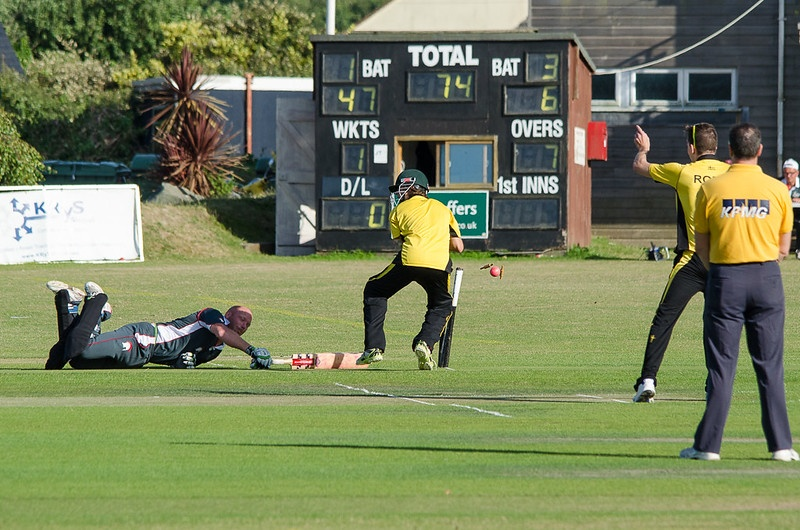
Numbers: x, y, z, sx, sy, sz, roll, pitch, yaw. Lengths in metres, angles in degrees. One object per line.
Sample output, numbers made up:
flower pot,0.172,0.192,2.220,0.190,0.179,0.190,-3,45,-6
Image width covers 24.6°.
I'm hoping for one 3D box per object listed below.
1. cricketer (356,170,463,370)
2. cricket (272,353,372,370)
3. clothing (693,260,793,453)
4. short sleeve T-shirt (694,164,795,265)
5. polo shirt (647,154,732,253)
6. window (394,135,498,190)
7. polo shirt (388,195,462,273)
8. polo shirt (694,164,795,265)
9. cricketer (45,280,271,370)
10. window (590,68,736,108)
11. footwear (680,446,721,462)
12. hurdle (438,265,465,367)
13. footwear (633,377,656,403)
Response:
cricketer,0.247,0.150,36.714,1.913,3.875,1.505,1,16,1
cricket,-1.521,1.959,36.903,1.708,0.278,0.270,0,50,-6
clothing,6.175,1.672,32.656,1.621,3.398,1.212,3,16,8
short sleeve T-shirt,6.072,-0.863,32.789,1.991,1.573,0.970,0,11,4
polo shirt,5.683,-1.124,35.087,2.146,1.900,1.121,1,9,-7
window,1.331,-2.978,54.081,3.303,1.617,0.343,-2,2,-20
polo shirt,0.483,-0.637,36.853,1.470,1.392,0.874,-1,-5,1
polo shirt,6.072,-0.863,32.789,1.991,1.573,0.970,0,11,4
cricketer,-4.865,1.173,36.925,3.984,1.515,1.949,3,-8,-11
window,8.589,-5.893,61.279,5.512,1.485,0.187,-1,7,-13
footwear,5.350,3.357,32.781,0.716,0.266,0.252,5,6,13
hurdle,1.034,1.105,37.100,0.235,2.107,0.224,15,13,26
footwear,4.612,2.385,34.529,0.254,0.265,0.584,6,-37,-2
